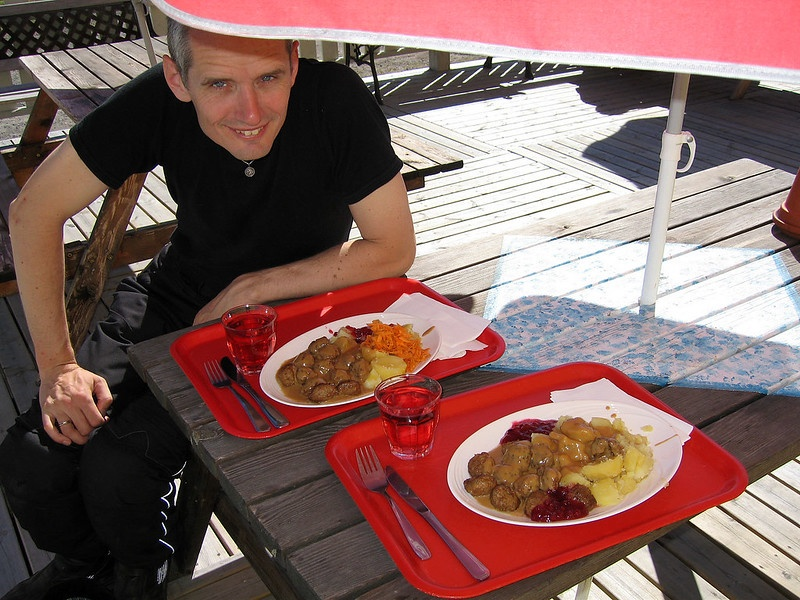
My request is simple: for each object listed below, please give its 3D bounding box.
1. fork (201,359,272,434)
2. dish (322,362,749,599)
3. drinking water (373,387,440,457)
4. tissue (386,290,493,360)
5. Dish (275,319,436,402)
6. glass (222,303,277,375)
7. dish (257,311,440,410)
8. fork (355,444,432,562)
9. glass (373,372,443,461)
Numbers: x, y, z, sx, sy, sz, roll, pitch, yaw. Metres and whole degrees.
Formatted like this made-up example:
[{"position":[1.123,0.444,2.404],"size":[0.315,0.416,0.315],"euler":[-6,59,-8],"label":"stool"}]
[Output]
[{"position":[-0.342,0.206,1.147],"size":[0.032,0.023,0.201],"euler":[-18,40,-28],"label":"fork"},{"position":[0.226,0.279,0.965],"size":[0.633,0.083,0.405],"euler":[-16,39,-17],"label":"dish"},{"position":[0.005,0.220,0.996],"size":[0.131,0.103,0.124],"euler":[-2,22,-4],"label":"drinking water"},{"position":[0.084,0.058,1.361],"size":[0.204,0.027,0.148],"euler":[20,41,29],"label":"tissue"},{"position":[-0.107,0.137,1.199],"size":[0.256,0.039,0.178],"euler":[-23,31,-26],"label":"Dish"},{"position":[-0.343,0.112,1.285],"size":[0.147,0.148,0.141],"euler":[-5,77,3],"label":"glass"},{"position":[-0.118,0.130,1.233],"size":[0.301,0.032,0.208],"euler":[-25,41,-29],"label":"dish"},{"position":[-0.028,0.315,0.956],"size":[0.051,0.045,0.314],"euler":[-23,35,-11],"label":"fork"},{"position":[0.011,0.204,1.033],"size":[0.145,0.117,0.137],"euler":[-4,20,-7],"label":"glass"}]
